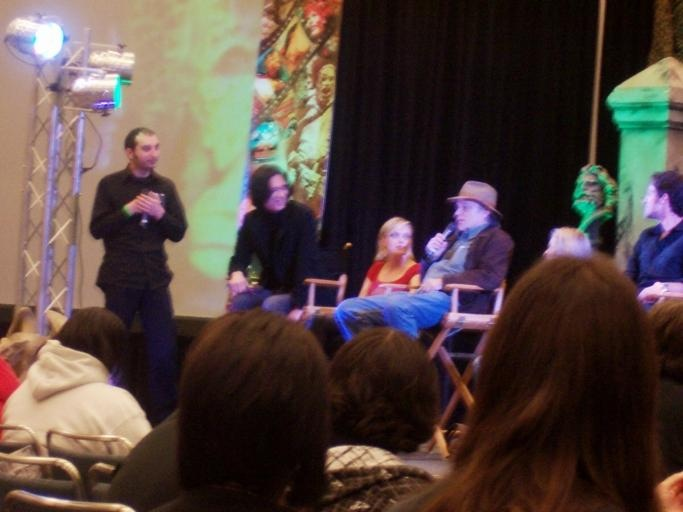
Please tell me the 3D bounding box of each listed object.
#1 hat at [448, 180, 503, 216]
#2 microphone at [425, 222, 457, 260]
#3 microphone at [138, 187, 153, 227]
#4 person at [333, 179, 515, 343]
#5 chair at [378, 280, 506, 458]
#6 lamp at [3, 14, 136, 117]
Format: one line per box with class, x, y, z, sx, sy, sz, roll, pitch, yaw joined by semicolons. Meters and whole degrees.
hat;0.863;-0.371;4.531;0.307;0.117;0.252;21;-9;-18
microphone;0.645;-0.100;4.682;0.085;0.364;0.087;33;-35;12
microphone;-1.177;-0.293;4.277;0.058;0.223;0.145;1;0;-16
person;0.488;0.190;4.230;1.009;1.322;0.645;5;-3;-24
chair;0.628;0.576;4.147;0.483;0.888;0.542;4;-2;-26
lamp;-1.900;-1.310;4.932;0.758;0.653;1.181;2;-1;-25
